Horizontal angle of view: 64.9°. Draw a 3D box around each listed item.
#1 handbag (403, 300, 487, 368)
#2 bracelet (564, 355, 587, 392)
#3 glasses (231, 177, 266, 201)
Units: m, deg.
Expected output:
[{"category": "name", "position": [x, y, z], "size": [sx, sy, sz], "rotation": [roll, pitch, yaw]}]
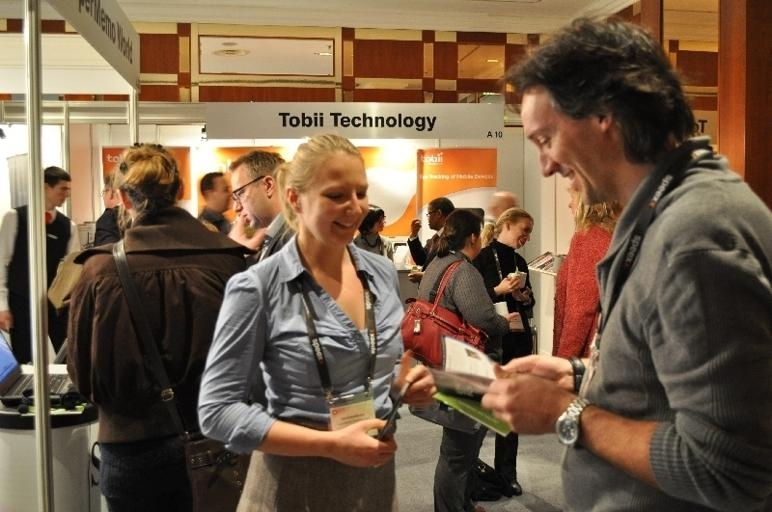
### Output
[{"category": "handbag", "position": [0.291, 0.392, 3.094], "size": [0.339, 0.305, 0.159], "rotation": [19, -8, -2]}, {"category": "bracelet", "position": [0.655, 0.405, 2.098], "size": [0.087, 0.129, 0.118], "rotation": [2, 4, 9]}, {"category": "glasses", "position": [-0.794, -0.395, 3.508], "size": [0.151, 0.040, 0.143], "rotation": [-33, 0, -16]}]
